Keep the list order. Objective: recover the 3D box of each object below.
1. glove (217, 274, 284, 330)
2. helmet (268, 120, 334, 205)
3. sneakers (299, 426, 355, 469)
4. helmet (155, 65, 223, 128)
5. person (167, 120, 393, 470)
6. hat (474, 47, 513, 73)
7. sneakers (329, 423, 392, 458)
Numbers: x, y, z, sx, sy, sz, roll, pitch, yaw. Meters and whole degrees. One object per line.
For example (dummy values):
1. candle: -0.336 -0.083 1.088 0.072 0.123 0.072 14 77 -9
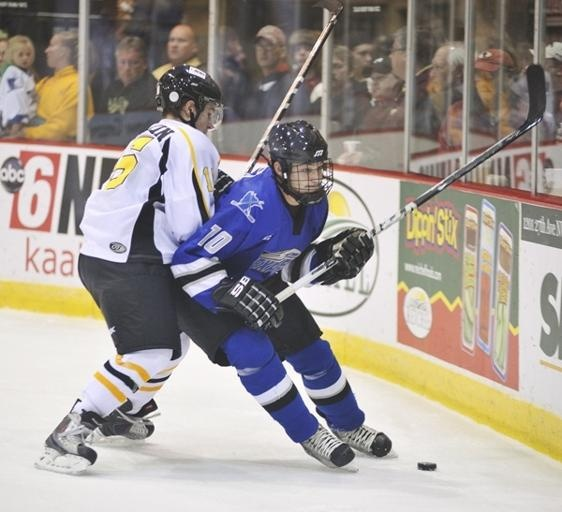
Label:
1. glove: -0.107 0.175 3.347 0.265 0.146 0.076 28 -33 -15
2. helmet: 0.067 -0.379 3.536 0.241 0.286 0.309 -22 36 -39
3. sneakers: 0.172 0.725 3.592 0.098 0.122 0.291 -44 17 -13
4. helmet: -0.362 -0.650 3.751 0.308 0.243 0.225 5 18 -12
5. person: 0.014 0.147 3.563 0.886 1.342 0.494 0 9 -17
6. hat: 1.012 -0.930 4.331 0.146 0.064 0.100 6 8 6
7. sneakers: 0.359 0.760 3.795 0.116 0.127 0.306 -36 11 -14
